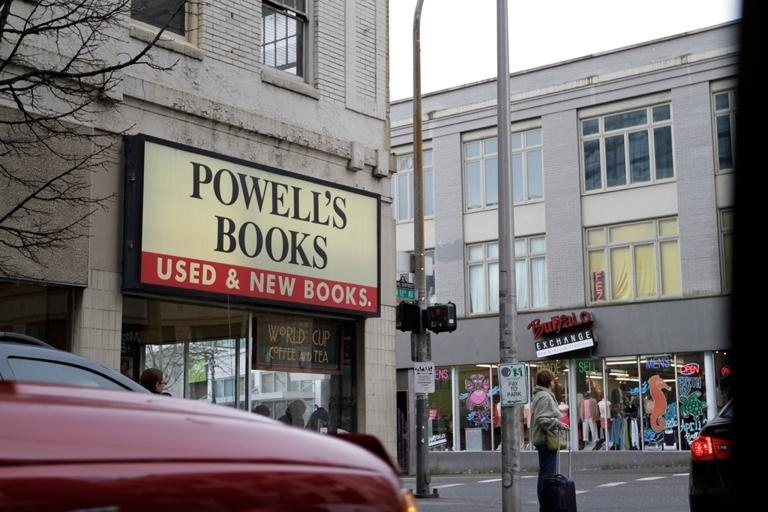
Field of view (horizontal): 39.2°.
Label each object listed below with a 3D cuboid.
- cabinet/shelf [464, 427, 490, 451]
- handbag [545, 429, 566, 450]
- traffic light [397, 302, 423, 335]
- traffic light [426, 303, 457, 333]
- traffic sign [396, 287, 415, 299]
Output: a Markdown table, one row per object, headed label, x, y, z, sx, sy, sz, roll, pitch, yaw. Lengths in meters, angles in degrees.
| label | x | y | z | sx | sy | sz | roll | pitch | yaw |
| --- | --- | --- | --- | --- | --- | --- | --- | --- | --- |
| cabinet/shelf | 3.230 | 6.275 | 36.620 | 0.989 | 0.974 | 0.672 | -6 | -11 | 37 |
| handbag | 2.429 | 2.631 | 15.314 | 0.083 | 0.259 | 0.431 | 3 | -8 | 32 |
| traffic light | 0.499 | 1.175 | 20.199 | 0.558 | 0.584 | 0.280 | 6 | -7 | -40 |
| traffic light | 1.076 | 1.169 | 20.314 | 0.519 | 0.448 | 0.538 | 5 | -3 | 23 |
| traffic sign | 0.421 | 0.752 | 21.738 | 0.255 | 0.201 | 0.892 | 5 | -3 | 17 |
